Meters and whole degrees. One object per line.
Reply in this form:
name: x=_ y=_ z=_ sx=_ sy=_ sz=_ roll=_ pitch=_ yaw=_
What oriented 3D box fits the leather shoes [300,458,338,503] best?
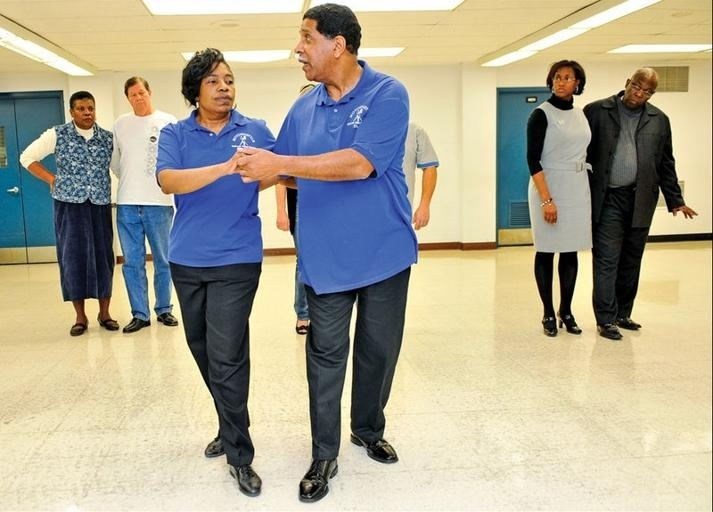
leather shoes: x=-0.173 y=1.042 z=2.435 sx=0.098 sy=0.095 sz=0.214 roll=2 pitch=1 yaw=16

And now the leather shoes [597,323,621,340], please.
leather shoes: x=2.108 y=0.631 z=4.396 sx=0.085 sy=0.080 sz=0.207 roll=-2 pitch=-1 yaw=-7

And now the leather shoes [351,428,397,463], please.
leather shoes: x=0.089 y=0.983 z=2.750 sx=0.097 sy=0.094 sz=0.250 roll=-5 pitch=7 yaw=-44

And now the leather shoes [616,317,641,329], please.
leather shoes: x=2.369 y=0.596 z=4.641 sx=0.086 sy=0.081 sz=0.216 roll=-1 pitch=0 yaw=-37

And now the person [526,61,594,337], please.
person: x=1.702 y=-0.460 z=4.421 sx=0.548 sy=2.275 sz=0.457 roll=0 pitch=11 yaw=8

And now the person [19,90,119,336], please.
person: x=-2.515 y=-0.381 z=4.738 sx=0.686 sy=2.123 sz=0.462 roll=-5 pitch=12 yaw=-19

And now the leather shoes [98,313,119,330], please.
leather shoes: x=-2.304 y=0.613 z=4.864 sx=0.274 sy=0.097 sz=0.099 roll=4 pitch=8 yaw=43

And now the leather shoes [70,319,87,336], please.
leather shoes: x=-2.545 y=0.662 z=4.774 sx=0.079 sy=0.072 sz=0.209 roll=-1 pitch=-2 yaw=-7

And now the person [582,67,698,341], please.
person: x=2.325 y=-0.437 z=4.408 sx=0.734 sy=2.175 sz=0.573 roll=-3 pitch=11 yaw=-7

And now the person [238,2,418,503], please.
person: x=-0.072 y=-0.003 z=2.400 sx=0.678 sy=2.188 sz=0.512 roll=0 pitch=11 yaw=6

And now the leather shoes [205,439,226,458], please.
leather shoes: x=-0.742 y=1.007 z=2.760 sx=0.092 sy=0.074 sz=0.184 roll=3 pitch=-9 yaw=-8

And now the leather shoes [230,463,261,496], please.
leather shoes: x=-0.527 y=1.044 z=2.476 sx=0.075 sy=0.077 sz=0.197 roll=1 pitch=5 yaw=-36

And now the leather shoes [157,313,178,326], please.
leather shoes: x=-1.802 y=0.600 z=4.967 sx=0.244 sy=0.088 sz=0.090 roll=1 pitch=3 yaw=44
